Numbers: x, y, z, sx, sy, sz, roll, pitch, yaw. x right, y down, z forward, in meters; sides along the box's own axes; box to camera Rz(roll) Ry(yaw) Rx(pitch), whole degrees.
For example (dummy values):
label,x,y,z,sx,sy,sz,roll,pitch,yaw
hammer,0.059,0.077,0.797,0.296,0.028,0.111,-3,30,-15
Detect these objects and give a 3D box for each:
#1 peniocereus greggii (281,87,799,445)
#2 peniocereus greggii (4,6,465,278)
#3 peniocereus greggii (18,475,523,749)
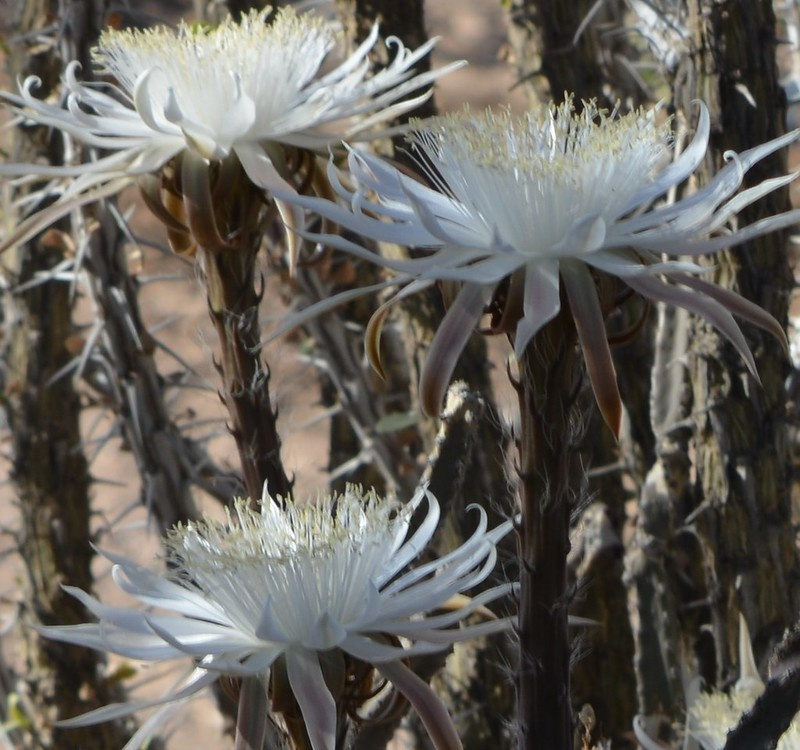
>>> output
label,x,y,z,sx,sy,sz,roll,pitch,yaw
peniocereus greggii,0.127,-0.088,1.431,0.449,0.289,0.302,-12,15,-6
peniocereus greggii,-0.163,-0.249,1.535,0.286,0.136,0.290,-21,12,-33
peniocereus greggii,-0.100,0.215,1.465,0.413,0.201,0.271,-11,15,0
